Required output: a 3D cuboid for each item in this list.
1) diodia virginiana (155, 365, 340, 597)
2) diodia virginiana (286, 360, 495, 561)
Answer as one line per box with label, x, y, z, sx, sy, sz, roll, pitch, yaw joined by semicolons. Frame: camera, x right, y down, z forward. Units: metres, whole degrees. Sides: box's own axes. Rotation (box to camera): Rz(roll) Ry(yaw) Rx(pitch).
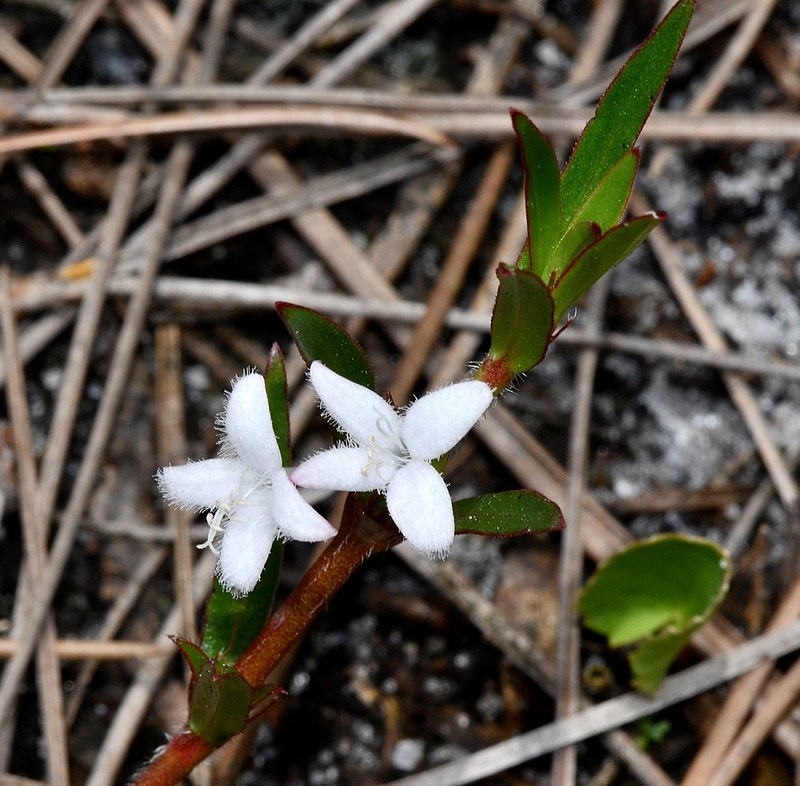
diodia virginiana;-0.305;0.182;2.214;0.425;0.441;0.159;-17;-20;23
diodia virginiana;-0.015;0.152;2.052;0.436;0.375;0.216;14;-14;-3
